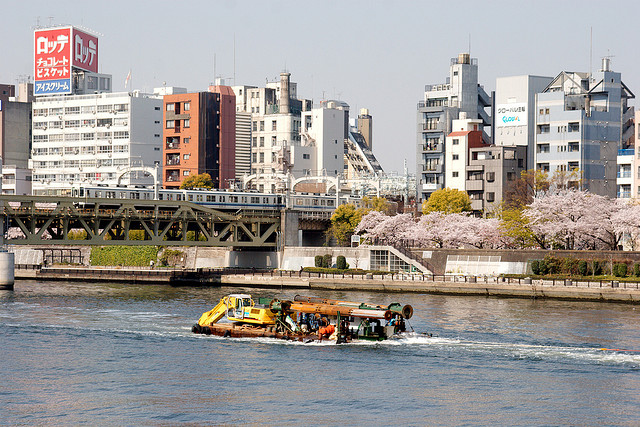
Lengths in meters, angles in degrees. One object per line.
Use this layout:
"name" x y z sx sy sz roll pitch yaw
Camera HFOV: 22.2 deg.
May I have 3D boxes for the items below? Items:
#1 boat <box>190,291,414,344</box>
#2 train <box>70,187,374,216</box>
"boat" -2.124 12.075 187.993 24.273 5.562 13.162 4 -2 21
"train" -15.406 -2.395 254.598 49.870 3.812 4.508 1 -2 7
